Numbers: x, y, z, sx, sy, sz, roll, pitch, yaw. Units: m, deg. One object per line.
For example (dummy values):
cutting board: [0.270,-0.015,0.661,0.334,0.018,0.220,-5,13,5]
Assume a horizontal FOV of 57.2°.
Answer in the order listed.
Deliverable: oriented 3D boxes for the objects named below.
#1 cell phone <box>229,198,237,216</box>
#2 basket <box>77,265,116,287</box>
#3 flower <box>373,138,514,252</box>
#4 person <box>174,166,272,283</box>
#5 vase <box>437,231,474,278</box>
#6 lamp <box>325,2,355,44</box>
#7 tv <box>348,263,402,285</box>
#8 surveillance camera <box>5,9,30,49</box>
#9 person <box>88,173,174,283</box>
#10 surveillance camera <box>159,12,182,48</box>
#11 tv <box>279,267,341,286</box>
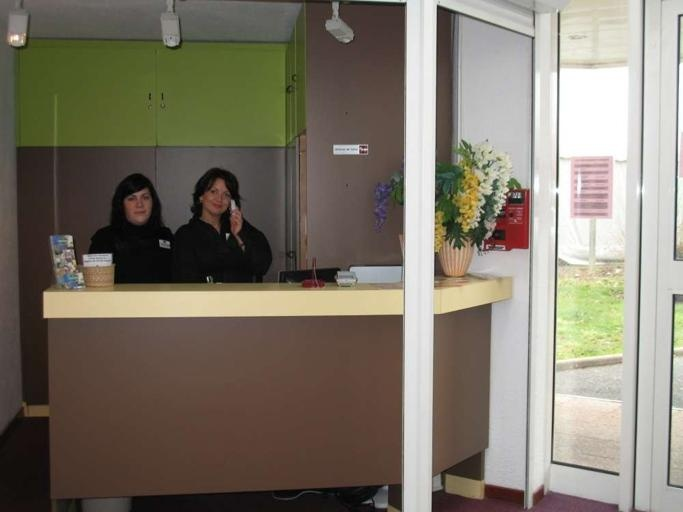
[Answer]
cell phone: [-0.965,-0.422,5.539,0.058,0.037,0.162,-2,36,-6]
basket: [-1.268,0.104,3.291,0.115,0.085,0.116,1,-1,38]
flower: [0.645,-0.340,3.559,0.882,0.625,0.354,-3,7,-24]
person: [-1.029,-0.268,5.413,0.818,0.982,0.401,-1,6,-8]
vase: [0.660,-0.017,3.653,0.200,0.241,0.216,-3,28,6]
lamp: [-0.019,-1.314,3.551,0.139,0.207,0.215,0,6,-3]
tv: [0.193,0.104,3.549,0.294,0.092,0.283,1,7,12]
surveillance camera: [-1.719,-1.207,3.322,0.105,0.214,0.148,-3,7,-29]
person: [-1.763,-0.236,5.250,0.663,0.900,0.354,-3,7,-21]
surveillance camera: [-0.923,-1.211,3.374,0.093,0.189,0.110,-2,6,-16]
tv: [-0.196,0.119,3.611,0.329,0.079,0.230,-1,7,-4]
